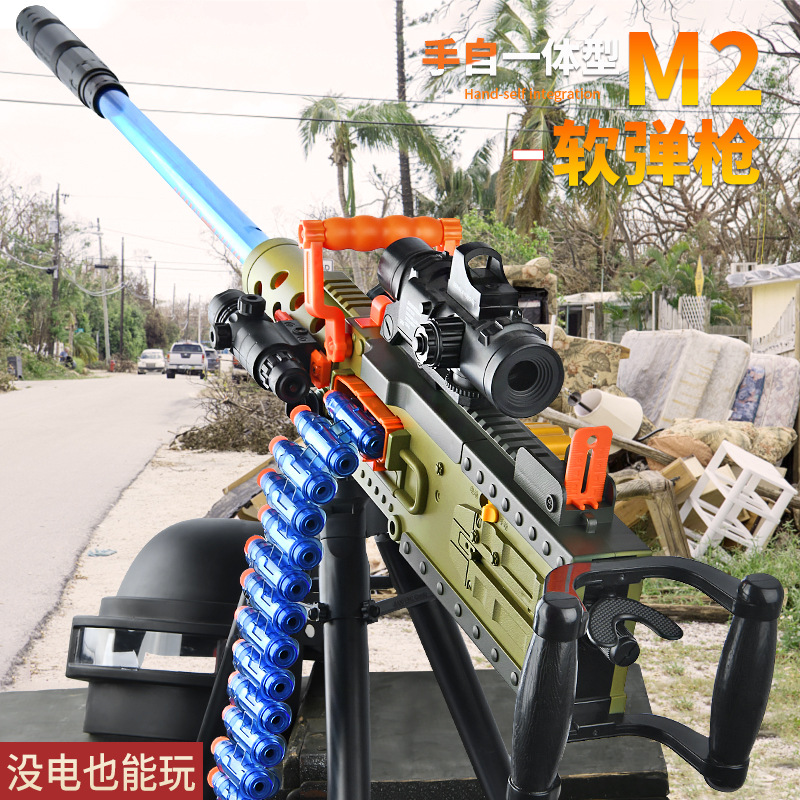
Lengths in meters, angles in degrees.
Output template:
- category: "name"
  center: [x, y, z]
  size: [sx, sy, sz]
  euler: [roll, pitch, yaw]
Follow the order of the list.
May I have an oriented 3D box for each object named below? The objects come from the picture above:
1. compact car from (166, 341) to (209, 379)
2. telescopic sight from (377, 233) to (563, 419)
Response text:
- category: "compact car"
  center: [-4.309, -0.810, 17.538]
  size: [0.809, 0.623, 1.454]
  euler: [1, 10, -3]
- category: "telescopic sight"
  center: [0.128, -0.200, 1.924]
  size: [0.307, 0.290, 0.593]
  euler: [-5, 32, -26]
